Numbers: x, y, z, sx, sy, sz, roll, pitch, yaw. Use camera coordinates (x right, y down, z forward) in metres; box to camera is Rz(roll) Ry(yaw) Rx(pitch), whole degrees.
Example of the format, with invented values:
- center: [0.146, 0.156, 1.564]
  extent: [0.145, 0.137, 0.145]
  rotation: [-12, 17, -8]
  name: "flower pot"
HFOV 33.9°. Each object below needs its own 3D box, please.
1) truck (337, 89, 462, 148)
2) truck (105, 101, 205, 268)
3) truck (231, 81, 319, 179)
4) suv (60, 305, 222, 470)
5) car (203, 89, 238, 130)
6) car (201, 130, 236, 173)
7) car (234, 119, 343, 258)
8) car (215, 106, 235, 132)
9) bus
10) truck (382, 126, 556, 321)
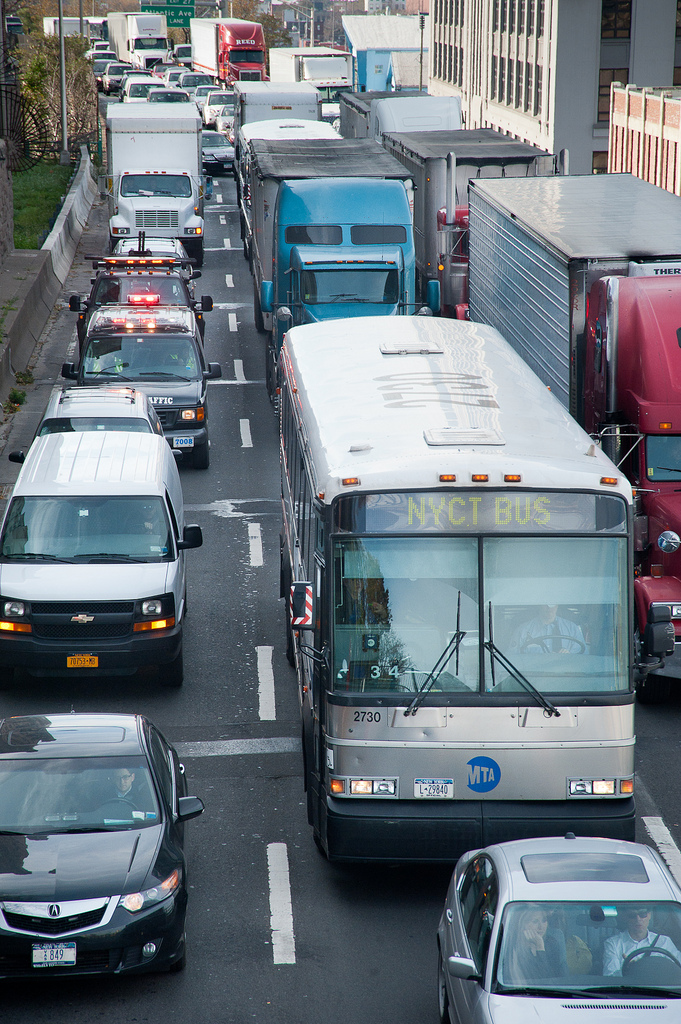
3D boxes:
- center: [1.634, -12.627, 36.598]
  extent: [2.139, 2.343, 7.347]
  rotation: [-3, 15, -11]
  name: "truck"
- center: [-6.227, -10.627, 35.229]
  extent: [2.571, 3.995, 7.263]
  rotation: [-1, 15, -5]
  name: "truck"
- center: [-2.623, -15.012, 44.900]
  extent: [3.332, 2.506, 3.671]
  rotation: [-1, 24, -6]
  name: "truck"
- center: [-3.328, -2.318, 19.606]
  extent: [1.743, 1.822, 3.511]
  rotation: [0, 16, -6]
  name: "suv"
- center: [-6.887, -22.641, 62.399]
  extent: [1.583, 1.749, 3.106]
  rotation: [-1, 12, -7]
  name: "car"
- center: [-6.072, -17.959, 55.243]
  extent: [1.688, 1.899, 3.871]
  rotation: [-2, 11, -9]
  name: "car"
- center: [-2.057, -11.940, 38.310]
  extent: [2.294, 4.064, 7.840]
  rotation: [0, 25, -5]
  name: "car"
- center: [-6.313, -21.096, 59.751]
  extent: [1.223, 1.348, 2.430]
  rotation: [0, 15, -4]
  name: "car"
- center: [0.748, 0.582, 7.288]
  extent: [1.372, 1.672, 3.895]
  rotation: [0, 14, -4]
  name: "bus"
- center: [3.048, -6.899, 26.459]
  extent: [2.851, 3.374, 5.819]
  rotation: [-4, 25, -9]
  name: "truck"
